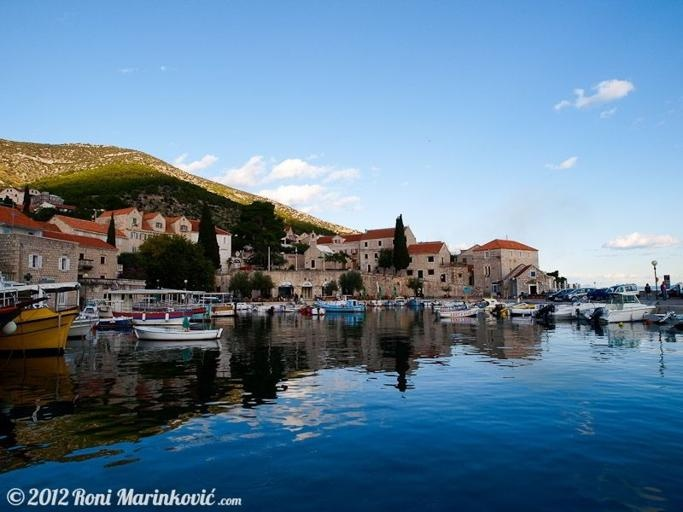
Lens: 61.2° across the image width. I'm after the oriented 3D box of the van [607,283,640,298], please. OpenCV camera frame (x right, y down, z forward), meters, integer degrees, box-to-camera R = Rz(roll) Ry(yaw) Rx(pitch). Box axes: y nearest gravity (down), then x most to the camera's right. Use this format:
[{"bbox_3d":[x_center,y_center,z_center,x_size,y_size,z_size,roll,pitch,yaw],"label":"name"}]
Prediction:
[{"bbox_3d":[24.265,2.781,49.549,1.829,1.001,3.866,0,5,20],"label":"van"}]
